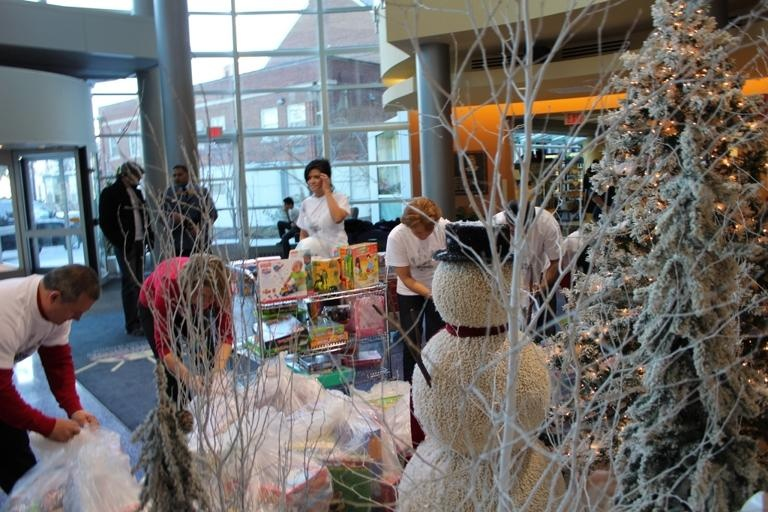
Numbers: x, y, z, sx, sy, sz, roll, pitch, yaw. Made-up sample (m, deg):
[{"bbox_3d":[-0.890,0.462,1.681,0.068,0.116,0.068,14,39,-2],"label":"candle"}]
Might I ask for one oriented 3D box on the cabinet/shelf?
[{"bbox_3d":[-0.482,0.398,3.803,0.501,0.949,0.925,-12,2,-40],"label":"cabinet/shelf"}]
